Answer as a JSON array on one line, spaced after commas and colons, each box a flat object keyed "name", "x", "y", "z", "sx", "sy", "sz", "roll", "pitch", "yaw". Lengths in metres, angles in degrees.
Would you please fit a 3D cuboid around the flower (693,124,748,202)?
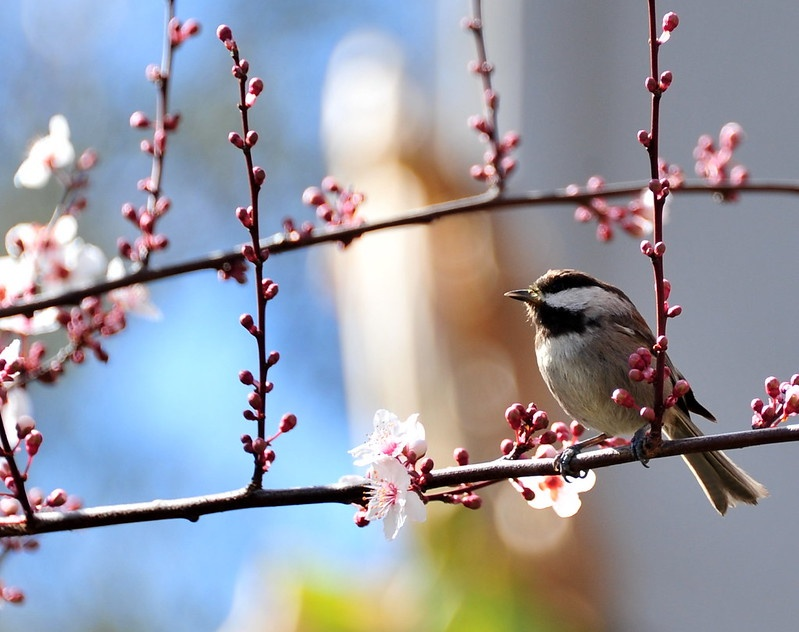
[{"name": "flower", "x": 1.115, "y": -0.569, "z": 3.566, "sx": 0.171, "sy": 0.174, "sz": 0.189, "roll": -2, "pitch": 21, "yaw": -2}]

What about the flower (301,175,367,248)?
[{"name": "flower", "x": -0.234, "y": -0.350, "z": 3.470, "sx": 0.213, "sy": 0.207, "sz": 0.102, "roll": -44, "pitch": -11, "yaw": -26}]

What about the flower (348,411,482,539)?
[{"name": "flower", "x": 0.041, "y": 0.508, "z": 3.353, "sx": 0.314, "sy": 0.424, "sz": 0.375, "roll": 18, "pitch": -17, "yaw": -35}]
